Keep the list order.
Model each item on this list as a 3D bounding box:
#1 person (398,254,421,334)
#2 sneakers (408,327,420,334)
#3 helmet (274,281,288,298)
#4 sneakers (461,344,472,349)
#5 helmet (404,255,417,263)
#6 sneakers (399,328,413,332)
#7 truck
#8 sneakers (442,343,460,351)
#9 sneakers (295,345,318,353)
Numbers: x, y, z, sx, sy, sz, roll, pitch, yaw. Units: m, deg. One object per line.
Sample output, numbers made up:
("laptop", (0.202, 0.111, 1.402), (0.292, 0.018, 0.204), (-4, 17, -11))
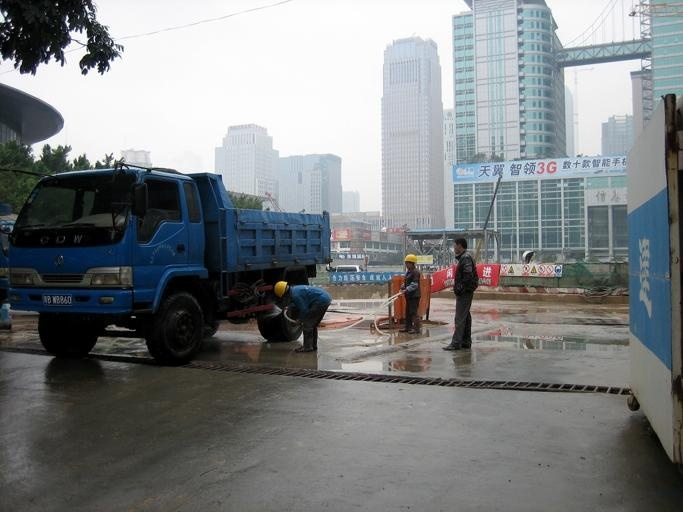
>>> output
("person", (1.785, 0.957, 13.410), (0.475, 2.008, 1.152), (-1, 2, 7))
("sneakers", (1.882, 1.925, 13.484), (0.345, 0.151, 0.122), (-1, -5, 12))
("helmet", (-1.299, 0.720, 11.198), (0.254, 0.294, 0.327), (9, -20, -10))
("sneakers", (2.644, 1.898, 11.019), (0.097, 0.067, 0.140), (-3, -5, 36))
("helmet", (1.741, 0.069, 12.979), (0.224, 0.120, 0.191), (8, 1, -16))
("sneakers", (1.680, 1.946, 13.688), (0.342, 0.159, 0.118), (-3, -10, 27))
("truck", (-3.331, 0.371, 11.834), (3.312, 3.590, 7.096), (-3, -6, 28))
("sneakers", (2.287, 1.881, 10.847), (0.350, 0.162, 0.135), (3, -7, 8))
("sneakers", (-0.749, 1.964, 10.975), (0.443, 0.207, 0.170), (5, -4, 6))
